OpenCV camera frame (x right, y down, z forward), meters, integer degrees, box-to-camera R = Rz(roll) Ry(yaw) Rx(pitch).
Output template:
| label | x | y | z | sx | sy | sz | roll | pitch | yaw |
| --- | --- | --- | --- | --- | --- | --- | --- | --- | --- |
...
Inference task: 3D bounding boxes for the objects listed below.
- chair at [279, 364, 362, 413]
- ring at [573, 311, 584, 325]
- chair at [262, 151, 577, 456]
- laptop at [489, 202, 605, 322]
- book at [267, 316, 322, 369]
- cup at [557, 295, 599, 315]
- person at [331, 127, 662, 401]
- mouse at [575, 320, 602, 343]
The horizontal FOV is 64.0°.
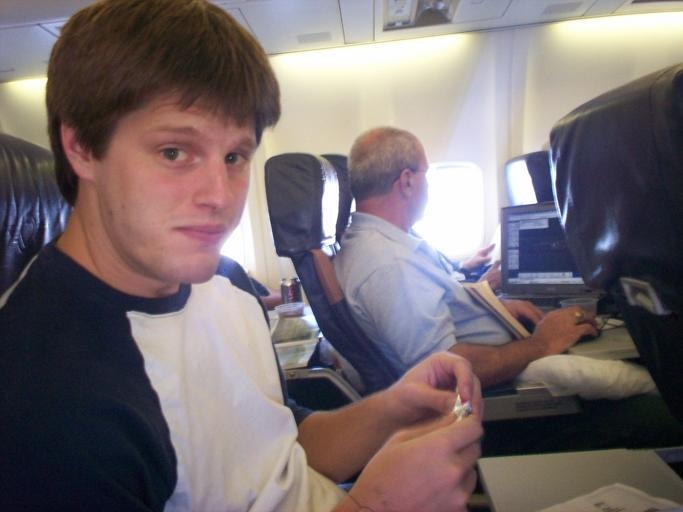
| label | x | y | z | sx | sy | sz | roll | pitch | yaw |
| --- | --- | --- | --- | --- | --- | --- | --- | --- | --- |
| chair | -0.067 | 0.421 | 1.724 | 0.203 | 0.175 | 0.153 | -15 | -12 | 26 |
| ring | 0.775 | 0.204 | 1.779 | 0.026 | 0.021 | 0.034 | 2 | 46 | 18 |
| chair | 0.232 | 0.092 | 2.185 | 1.056 | 1.305 | 0.780 | -9 | 1 | 5 |
| laptop | 0.879 | 0.009 | 2.310 | 0.484 | 0.477 | 0.397 | -2 | 1 | 32 |
| book | -0.166 | 0.333 | 2.015 | 0.125 | 0.167 | 0.135 | -3 | -16 | -34 |
| cup | 0.858 | 0.180 | 1.986 | 0.075 | 0.033 | 0.088 | -6 | 3 | -23 |
| person | 0.624 | -0.009 | 1.844 | 1.150 | 0.875 | 0.584 | -13 | 7 | -12 |
| mouse | 0.778 | 0.241 | 1.718 | 0.074 | 0.027 | 0.075 | -21 | 36 | 8 |
